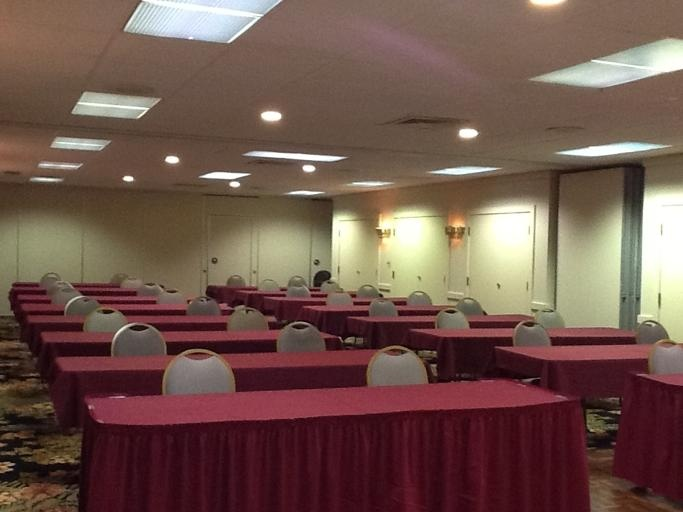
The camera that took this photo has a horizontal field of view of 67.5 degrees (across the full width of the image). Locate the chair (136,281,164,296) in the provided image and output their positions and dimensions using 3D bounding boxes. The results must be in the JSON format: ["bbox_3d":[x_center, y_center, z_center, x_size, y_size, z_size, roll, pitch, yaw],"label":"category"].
[{"bbox_3d":[-3.861,0.669,10.262,0.304,0.204,0.311,-1,3,-25],"label":"chair"}]

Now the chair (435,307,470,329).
[{"bbox_3d":[1.487,0.867,6.909,0.286,0.429,0.302,2,-13,-8],"label":"chair"}]

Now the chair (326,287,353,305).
[{"bbox_3d":[-0.036,0.759,9.601,0.281,0.421,0.321,1,-8,-8],"label":"chair"}]

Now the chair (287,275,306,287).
[{"bbox_3d":[-1.056,0.615,12.117,0.310,0.170,0.381,2,7,-6],"label":"chair"}]

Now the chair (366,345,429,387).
[{"bbox_3d":[0.436,0.786,3.959,0.338,0.531,0.359,0,-5,-10],"label":"chair"}]

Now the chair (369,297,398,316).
[{"bbox_3d":[0.677,0.827,8.314,0.282,0.436,0.305,1,-7,-6],"label":"chair"}]

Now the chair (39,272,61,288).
[{"bbox_3d":[-6.867,0.551,11.989,0.271,0.220,0.283,0,2,-8],"label":"chair"}]

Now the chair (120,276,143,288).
[{"bbox_3d":[-4.647,0.589,11.445,0.376,0.272,0.392,5,8,17],"label":"chair"}]

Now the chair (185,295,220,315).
[{"bbox_3d":[-2.015,0.731,7.490,0.464,0.236,0.257,3,-5,-15],"label":"chair"}]

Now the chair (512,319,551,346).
[{"bbox_3d":[2.145,0.886,5.721,0.328,0.459,0.321,0,-2,-14],"label":"chair"}]

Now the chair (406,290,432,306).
[{"bbox_3d":[1.509,0.817,9.793,0.298,0.438,0.317,-1,-3,-6],"label":"chair"}]

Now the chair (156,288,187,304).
[{"bbox_3d":[-2.979,0.718,9.025,0.345,0.256,0.358,1,-5,-3],"label":"chair"}]
